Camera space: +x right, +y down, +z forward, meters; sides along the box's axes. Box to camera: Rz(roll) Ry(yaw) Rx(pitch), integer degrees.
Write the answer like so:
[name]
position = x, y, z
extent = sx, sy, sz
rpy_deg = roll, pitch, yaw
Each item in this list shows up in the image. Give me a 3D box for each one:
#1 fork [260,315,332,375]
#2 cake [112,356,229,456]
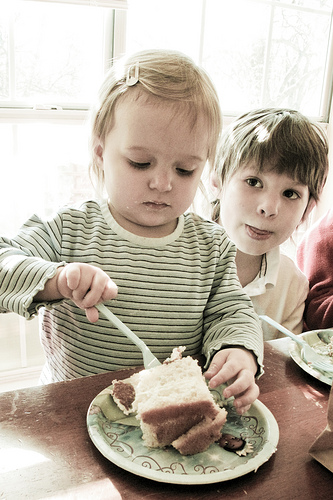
[fork]
position = 0.231, 0.166, 0.870
extent = 0.043, 0.035, 0.248
rpy_deg = -9, 16, -16
[cake]
position = -0.033, 0.201, 0.660
extent = 0.197, 0.050, 0.189
rpy_deg = 32, -18, 0
